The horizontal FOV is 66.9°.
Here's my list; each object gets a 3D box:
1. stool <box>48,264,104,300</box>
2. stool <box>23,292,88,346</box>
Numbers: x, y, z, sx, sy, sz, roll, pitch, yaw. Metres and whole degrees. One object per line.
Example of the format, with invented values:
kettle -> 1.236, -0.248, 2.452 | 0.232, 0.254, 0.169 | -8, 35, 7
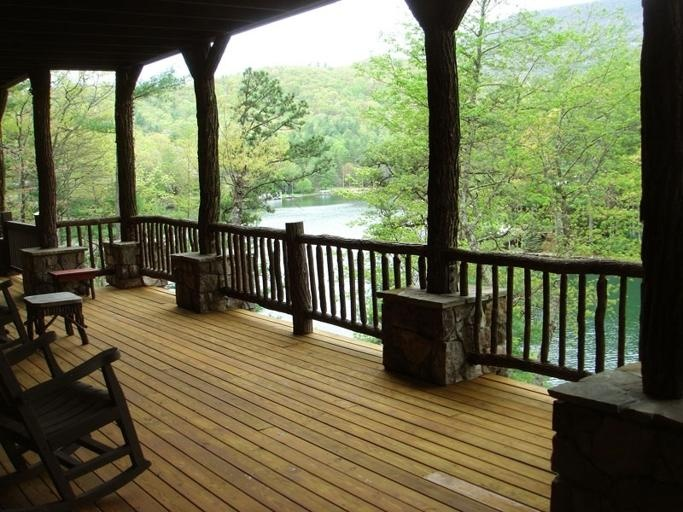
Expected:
stool -> -3.726, 0.369, 7.213 | 0.597, 0.300, 0.298 | -5, 17, -30
stool -> -3.090, 0.628, 5.614 | 0.753, 0.559, 0.693 | -4, 7, -28
